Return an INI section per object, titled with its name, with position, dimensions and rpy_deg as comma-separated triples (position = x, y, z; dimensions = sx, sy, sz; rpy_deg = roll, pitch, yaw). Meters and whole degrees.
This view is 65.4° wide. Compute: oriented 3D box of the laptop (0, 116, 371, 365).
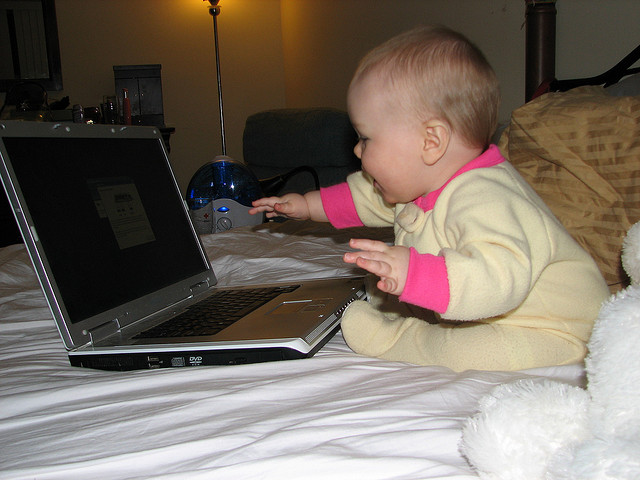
[laptop]
position = -0.292, 0.027, 0.964
dimensions = 0.653, 0.361, 0.617
rpy_deg = -2, 3, 15

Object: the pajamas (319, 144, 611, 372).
[pajamas]
position = 0.231, 0.047, 0.908
dimensions = 0.516, 0.272, 0.472
rpy_deg = -3, 15, -15
